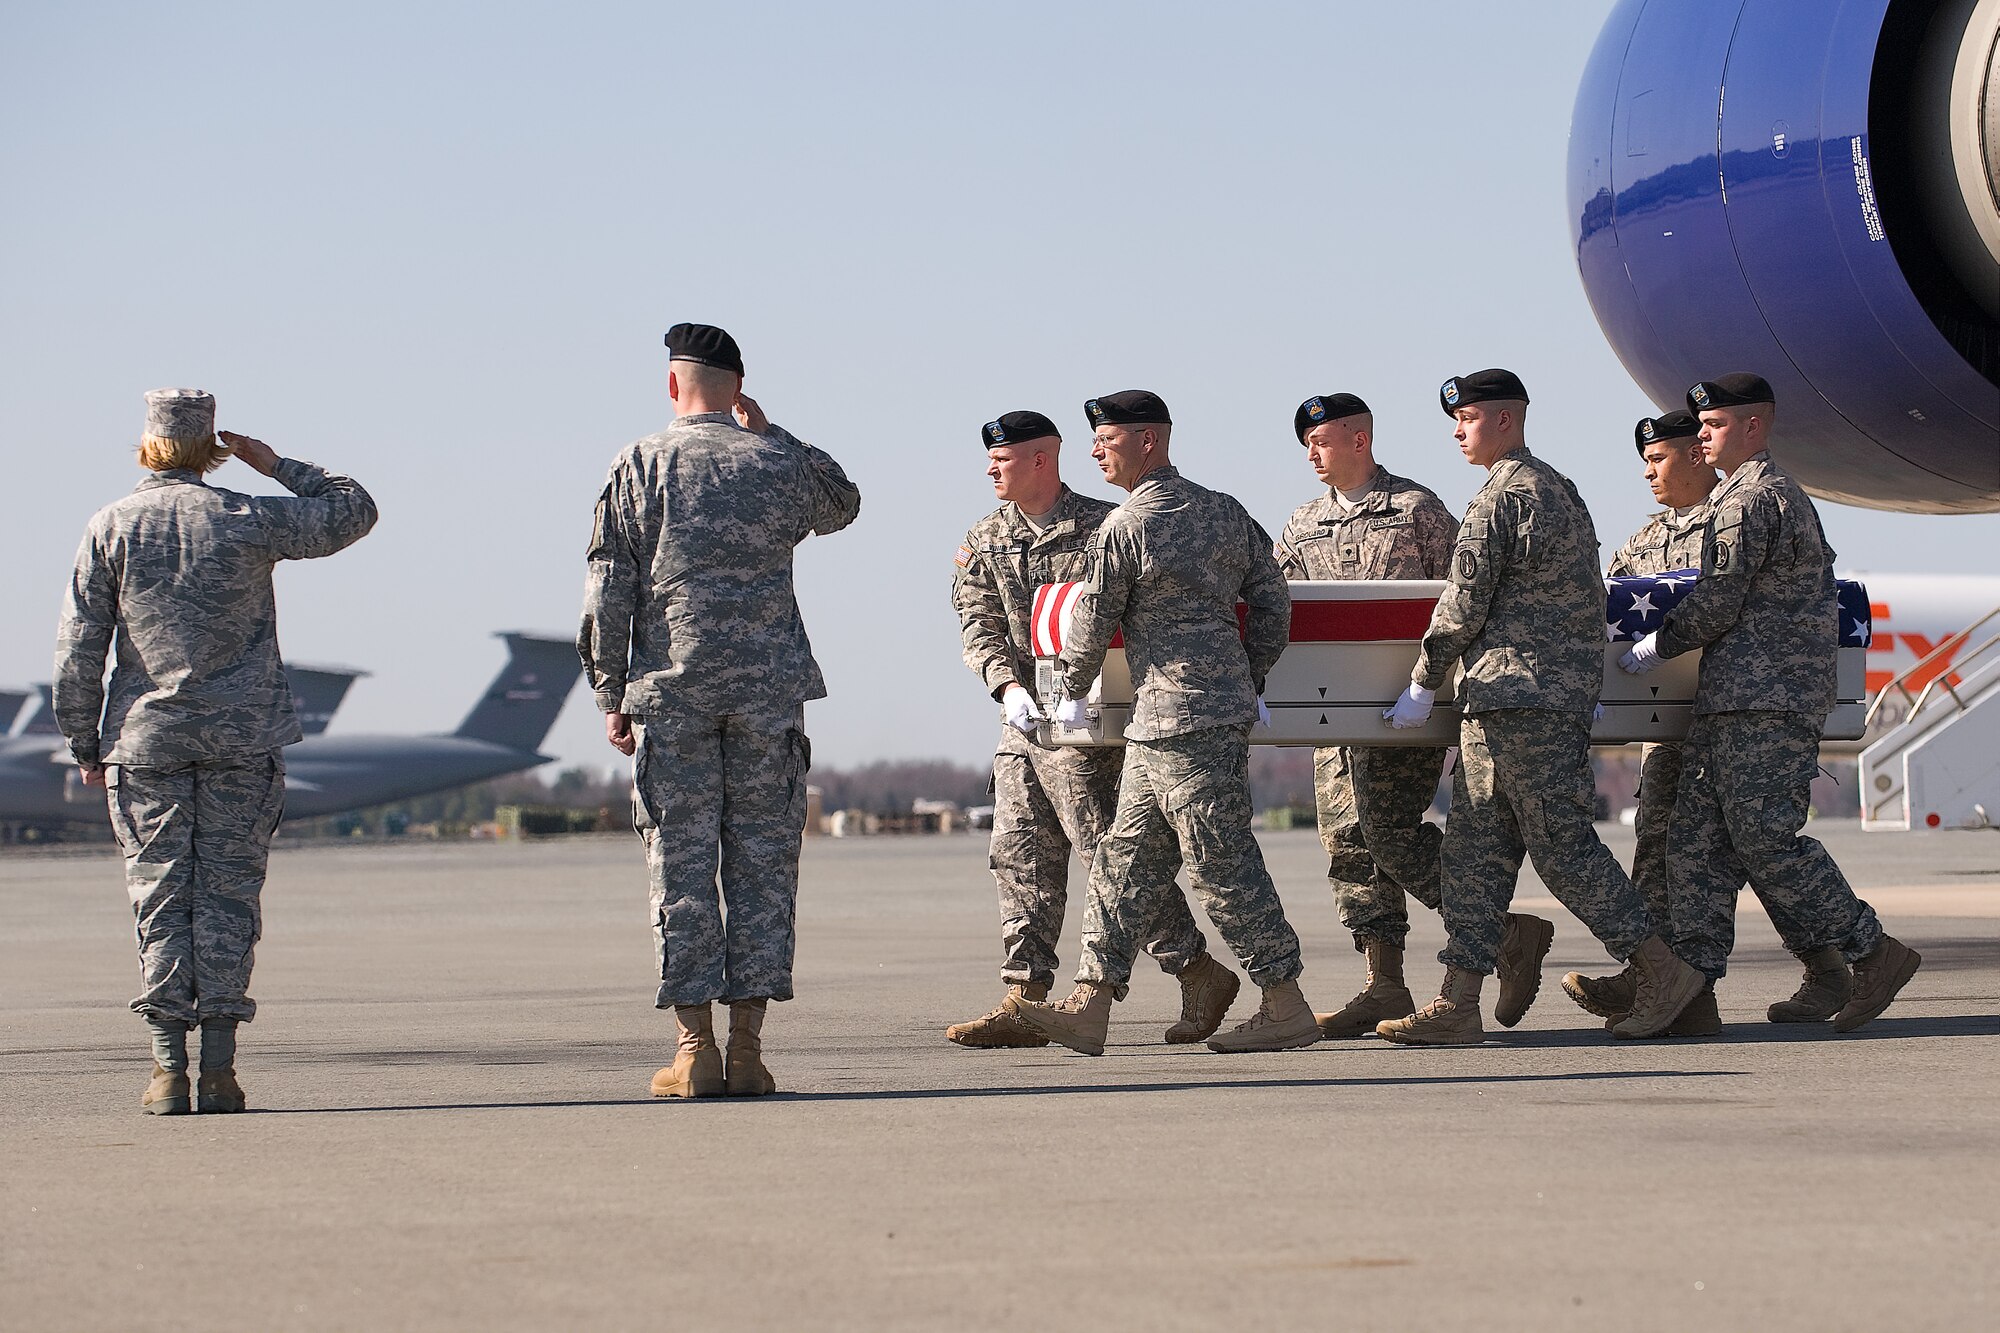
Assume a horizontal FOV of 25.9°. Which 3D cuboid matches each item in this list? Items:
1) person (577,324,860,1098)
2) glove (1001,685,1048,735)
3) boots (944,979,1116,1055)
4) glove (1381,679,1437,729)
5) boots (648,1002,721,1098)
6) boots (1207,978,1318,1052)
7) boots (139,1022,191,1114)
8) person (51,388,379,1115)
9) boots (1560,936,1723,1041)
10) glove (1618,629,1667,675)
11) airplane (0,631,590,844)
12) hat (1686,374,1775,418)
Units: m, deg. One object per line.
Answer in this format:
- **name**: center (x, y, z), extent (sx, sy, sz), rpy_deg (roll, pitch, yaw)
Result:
- **person**: center (-1.140, 0.153, 16.940), extent (0.994, 2.693, 0.461), rpy_deg (-1, 0, -2)
- **glove**: center (0.107, 0.169, 17.988), extent (0.171, 0.188, 0.064), rpy_deg (-3, -3, 28)
- **boots**: center (0.192, 1.416, 17.616), extent (0.859, 0.318, 0.247), rpy_deg (6, -12, -9)
- **glove**: center (1.702, 0.153, 17.955), extent (0.177, 0.189, 0.075), rpy_deg (14, 11, -8)
- **boots**: center (-1.218, 1.482, 16.852), extent (0.276, 0.323, 0.300), rpy_deg (-1, 1, -4)
- **boots**: center (0.992, 1.443, 17.631), extent (0.638, 0.355, 0.192), rpy_deg (-4, -6, 6)
- **boots**: center (-3.191, 1.524, 16.599), extent (0.179, 0.328, 0.280), rpy_deg (-1, 1, -11)
- **person**: center (-3.069, 0.314, 16.698), extent (1.117, 2.608, 0.527), rpy_deg (-1, 0, -11)
- **boots**: center (2.773, 1.297, 18.051), extent (0.882, 0.515, 0.267), rpy_deg (1, 36, 20)
- **glove**: center (2.686, -0.069, 18.161), extent (0.191, 0.075, 0.125), rpy_deg (-21, 35, 18)
- **airplane**: center (-6.165, 0.738, 38.400), extent (5.042, 1.306, 4.295), rpy_deg (-2, 2, -34)
- **hat**: center (3.098, -1.154, 18.290), extent (0.291, 0.091, 0.191), rpy_deg (-3, 1, -6)
